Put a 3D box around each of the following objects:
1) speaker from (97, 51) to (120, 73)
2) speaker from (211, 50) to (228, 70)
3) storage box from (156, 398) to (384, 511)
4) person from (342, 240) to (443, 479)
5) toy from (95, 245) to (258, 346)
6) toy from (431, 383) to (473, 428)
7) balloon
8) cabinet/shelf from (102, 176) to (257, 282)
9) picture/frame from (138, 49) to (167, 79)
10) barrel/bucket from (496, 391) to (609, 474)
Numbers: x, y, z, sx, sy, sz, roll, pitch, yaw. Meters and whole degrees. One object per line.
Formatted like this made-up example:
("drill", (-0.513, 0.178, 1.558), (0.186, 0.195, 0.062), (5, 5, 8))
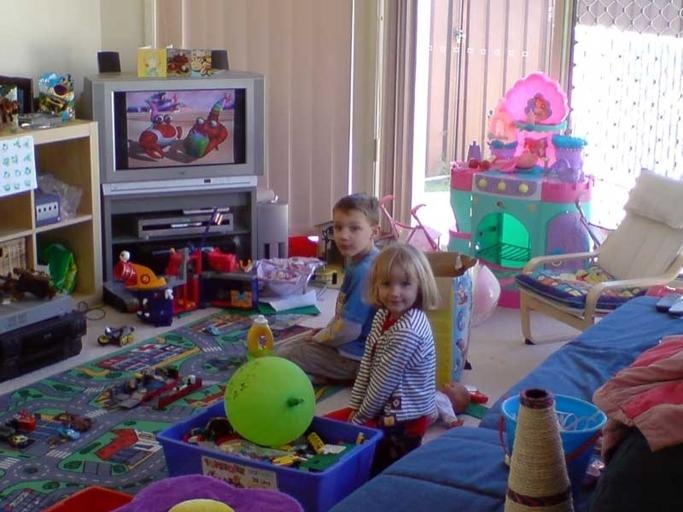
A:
("speaker", (-1.696, -1.417, 4.001), (0.123, 0.222, 0.142), (-12, 39, -27))
("speaker", (-0.921, -1.502, 4.240), (0.125, 0.186, 0.183), (-1, 10, -4))
("storage box", (-0.267, 0.676, 1.810), (0.490, 0.160, 0.339), (6, 12, 27))
("person", (0.189, 0.573, 2.298), (0.377, 1.291, 0.350), (-1, 14, -14))
("toy", (-1.082, 0.196, 3.656), (0.882, 0.500, 0.512), (-11, 19, -41))
("toy", (0.498, 0.681, 2.467), (0.089, 0.175, 0.231), (-23, -9, 22))
("balloon", (-0.243, 0.519, 1.948), (0.300, 0.313, 0.319), (5, -23, 15))
("cabinet/shelf", (-1.201, -0.204, 3.925), (0.682, 0.666, 0.264), (-4, 8, -29))
("picture/frame", (-1.294, -1.334, 3.896), (0.237, 0.252, 0.189), (2, 15, -5))
("barrel/bucket", (0.583, 0.480, 1.527), (0.287, 0.153, 0.245), (-3, 17, -11))
